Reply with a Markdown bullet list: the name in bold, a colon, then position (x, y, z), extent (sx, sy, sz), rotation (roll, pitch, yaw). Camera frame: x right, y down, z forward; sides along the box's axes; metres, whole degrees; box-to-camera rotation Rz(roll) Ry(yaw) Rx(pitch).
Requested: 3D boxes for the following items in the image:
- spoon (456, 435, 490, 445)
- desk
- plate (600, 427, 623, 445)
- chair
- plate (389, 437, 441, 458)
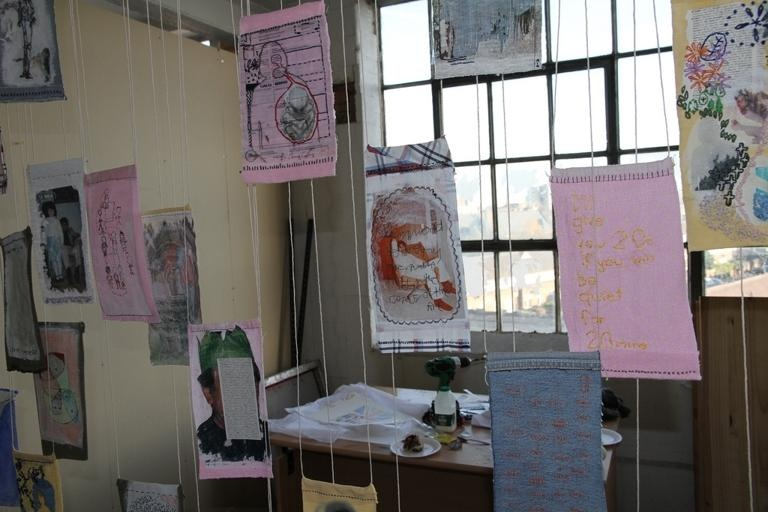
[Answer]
- **spoon**: position (0.351, 0.715, 2.960), extent (0.163, 0.027, 0.041), rotation (-1, 10, 35)
- **desk**: position (-0.001, 0.815, 3.161), extent (0.931, 0.426, 0.595), rotation (-4, 1, 11)
- **plate**: position (0.890, 0.713, 2.972), extent (0.065, 0.048, 0.163), rotation (-4, 1, 18)
- **chair**: position (-0.342, 0.783, 3.811), extent (0.307, 0.433, 0.422), rotation (-2, 1, 29)
- **plate**: position (0.131, 0.730, 2.915), extent (0.178, 0.055, 0.123), rotation (-4, 1, 12)
